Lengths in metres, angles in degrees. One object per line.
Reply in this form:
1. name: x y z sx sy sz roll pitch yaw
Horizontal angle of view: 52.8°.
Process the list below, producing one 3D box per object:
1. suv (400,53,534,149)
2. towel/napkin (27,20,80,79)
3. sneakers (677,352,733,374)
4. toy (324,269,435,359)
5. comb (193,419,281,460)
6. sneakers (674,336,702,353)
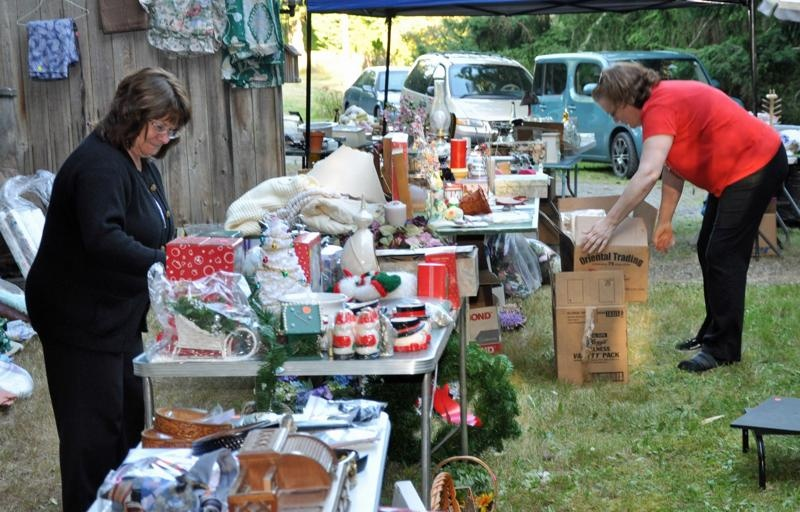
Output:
1. suv: 1.252 -2.443 13.015 1.746 1.655 3.149 -2 16 -10
2. towel/napkin: -3.164 -1.879 7.266 0.473 0.513 0.171 -3 1 -9
3. sneakers: 2.412 0.837 6.412 0.403 0.177 0.170 0 -3 2
4. toy: -0.104 0.312 4.236 0.380 0.471 0.351 1 2 6
5. comb: -0.786 0.848 3.796 0.407 0.108 0.118 -5 12 -14
6. sneakers: 2.399 0.746 6.792 0.245 0.107 0.094 -1 8 1
